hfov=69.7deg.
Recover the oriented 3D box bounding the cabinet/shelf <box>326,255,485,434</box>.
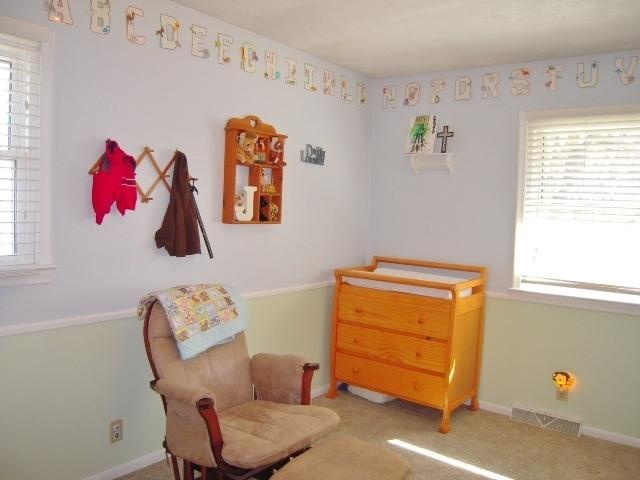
[{"bbox_3d":[0.774,0.870,4.218,1.165,1.303,0.826,5,5,33],"label":"cabinet/shelf"}]

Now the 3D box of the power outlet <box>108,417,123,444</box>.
[{"bbox_3d":[-1.350,1.250,3.036,0.084,0.153,0.031,-1,7,-32],"label":"power outlet"}]

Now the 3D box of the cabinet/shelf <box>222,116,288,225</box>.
[{"bbox_3d":[-0.519,-0.559,3.636,0.540,0.856,0.205,-4,9,-44],"label":"cabinet/shelf"}]
